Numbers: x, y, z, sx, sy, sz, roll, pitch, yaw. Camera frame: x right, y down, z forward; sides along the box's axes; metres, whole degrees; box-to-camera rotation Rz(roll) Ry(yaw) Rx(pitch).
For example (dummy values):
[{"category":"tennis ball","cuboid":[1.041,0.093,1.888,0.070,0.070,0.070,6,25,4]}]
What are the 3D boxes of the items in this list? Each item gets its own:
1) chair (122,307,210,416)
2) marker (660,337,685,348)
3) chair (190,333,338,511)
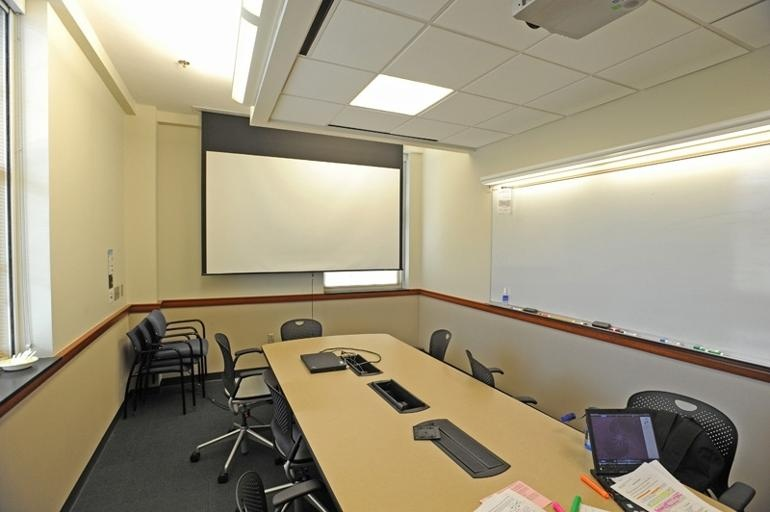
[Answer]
[{"category":"chair","cuboid":[-2.655,1.149,5.979,0.984,1.259,1.488,0,1,-12]},{"category":"marker","cuboid":[2.641,0.790,4.446,0.051,0.062,0.244,2,2,-26]},{"category":"chair","cuboid":[-1.127,1.500,4.524,1.442,1.460,1.484,0,0,-21]}]
